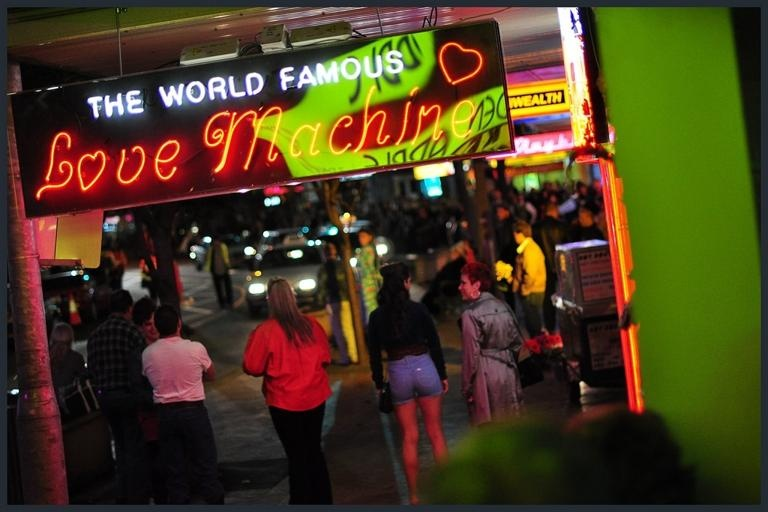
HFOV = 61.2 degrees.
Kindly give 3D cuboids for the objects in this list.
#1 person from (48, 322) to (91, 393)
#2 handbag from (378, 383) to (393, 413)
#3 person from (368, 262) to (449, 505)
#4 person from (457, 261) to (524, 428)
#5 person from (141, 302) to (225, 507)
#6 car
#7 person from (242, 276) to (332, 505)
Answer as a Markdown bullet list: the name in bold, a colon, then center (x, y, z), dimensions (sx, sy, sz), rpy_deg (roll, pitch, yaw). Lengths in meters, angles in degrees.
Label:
- **person**: center (-4.108, 1.293, 8.348), dimensions (0.423, 0.718, 0.522), rpy_deg (-7, -2, -12)
- **handbag**: center (0.019, 1.475, 6.874), dimensions (0.146, 0.295, 0.351), rpy_deg (0, 0, 6)
- **person**: center (0.267, 1.290, 6.850), dimensions (0.781, 2.346, 0.357), rpy_deg (-7, -2, 0)
- **person**: center (1.150, 0.923, 7.106), dimensions (0.724, 1.720, 0.361), rpy_deg (-7, -2, 1)
- **person**: center (-2.126, 1.558, 6.826), dimensions (0.683, 1.747, 0.275), rpy_deg (-7, -2, -20)
- **car**: center (-2.807, 0.347, 17.857), dimensions (1.699, 1.376, 3.017), rpy_deg (-2, -9, 2)
- **person**: center (-0.953, 1.388, 6.717), dimensions (0.850, 2.059, 0.236), rpy_deg (-7, -2, -10)
